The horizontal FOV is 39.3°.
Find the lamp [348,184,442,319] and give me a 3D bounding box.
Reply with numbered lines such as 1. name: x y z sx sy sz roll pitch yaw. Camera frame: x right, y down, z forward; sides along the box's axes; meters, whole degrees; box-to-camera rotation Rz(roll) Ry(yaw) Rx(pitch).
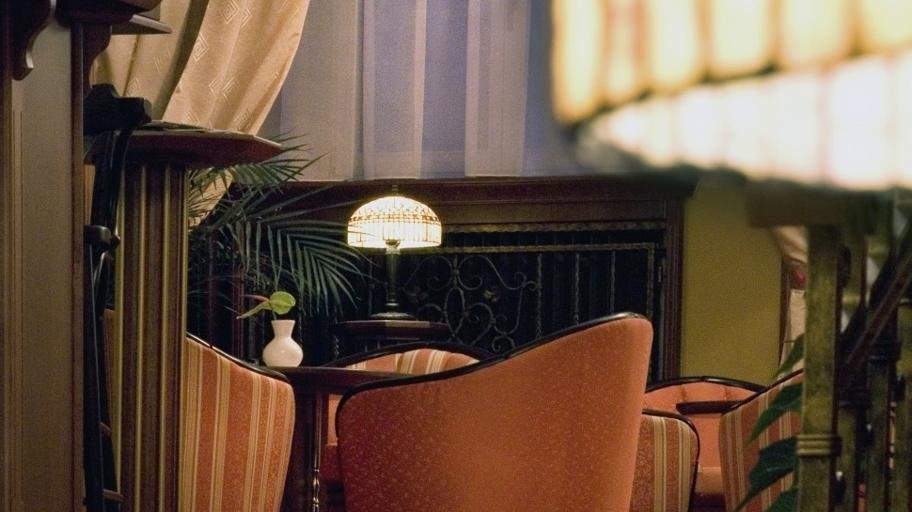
1. lamp: -0.145 -0.007 4.258 0.366 0.506 0.386 -1 -2 4

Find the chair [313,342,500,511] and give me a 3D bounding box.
1. chair: -0.194 0.394 3.287 0.386 0.458 0.360 9 -13 -27
